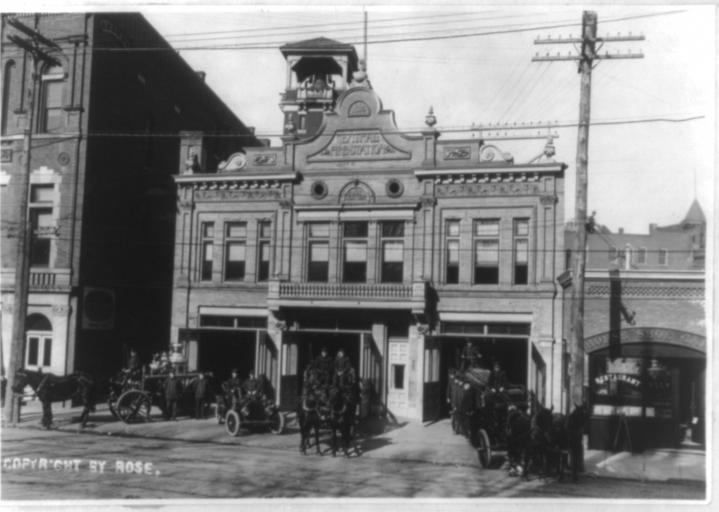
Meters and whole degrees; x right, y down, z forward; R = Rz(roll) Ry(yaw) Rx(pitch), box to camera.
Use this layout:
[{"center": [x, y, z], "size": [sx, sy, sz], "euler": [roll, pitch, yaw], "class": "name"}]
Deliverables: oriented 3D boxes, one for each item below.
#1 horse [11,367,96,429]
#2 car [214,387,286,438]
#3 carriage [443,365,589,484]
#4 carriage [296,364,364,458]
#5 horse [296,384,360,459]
[{"center": [-13.017, 6.169, 57.663], "size": [3.652, 2.604, 1.031], "euler": [-2, -1, -1], "class": "horse"}, {"center": [-4.823, 6.568, 56.524], "size": [2.741, 2.083, 1.994], "euler": [8, -8, -44], "class": "car"}, {"center": [5.695, 6.260, 55.362], "size": [3.232, 2.514, 5.379], "euler": [-9, 11, -12], "class": "carriage"}, {"center": [-1.330, 6.162, 54.537], "size": [1.571, 3.881, 1.824], "euler": [0, -3, 2], "class": "carriage"}, {"center": [-1.324, 6.606, 54.295], "size": [2.317, 3.100, 1.371], "euler": [1, -8, -3], "class": "horse"}]
